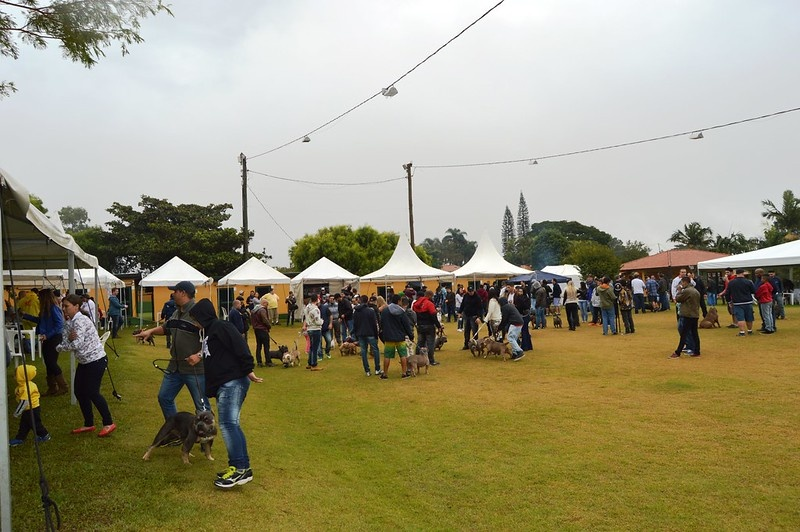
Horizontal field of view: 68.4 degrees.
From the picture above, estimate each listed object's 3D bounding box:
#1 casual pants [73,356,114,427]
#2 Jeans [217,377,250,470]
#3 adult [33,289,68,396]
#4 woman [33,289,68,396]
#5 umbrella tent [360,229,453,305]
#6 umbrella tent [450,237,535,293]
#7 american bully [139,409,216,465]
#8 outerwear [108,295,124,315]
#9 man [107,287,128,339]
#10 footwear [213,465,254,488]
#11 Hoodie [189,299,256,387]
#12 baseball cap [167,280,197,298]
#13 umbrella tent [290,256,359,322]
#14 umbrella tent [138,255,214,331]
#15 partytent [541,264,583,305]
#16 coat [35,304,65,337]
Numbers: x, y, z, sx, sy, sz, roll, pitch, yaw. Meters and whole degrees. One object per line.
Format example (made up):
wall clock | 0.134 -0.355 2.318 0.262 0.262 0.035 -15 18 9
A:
casual pants | -5.077 2.115 9.776 0.490 1.258 0.569 -7 12 -29
Jeans | -2.423 2.325 8.664 0.437 1.305 0.327 -5 11 -18
adult | -6.922 1.504 11.646 0.616 2.109 0.667 -1 0 19
woman | -6.918 1.493 11.607 0.616 2.094 0.656 1 3 23
umbrella tent | -0.001 0.158 30.737 3.681 2.510 3.719 0 -5 -2
umbrella tent | 4.738 -0.309 33.246 4.435 2.280 4.385 3 0 -13
american bully | -3.349 2.623 9.148 1.390 0.726 0.728 -5 -9 30
outerwear | -10.350 1.442 21.546 0.652 0.872 0.704 -1 -1 -16
man | -10.299 1.721 21.517 0.626 1.779 0.580 -4 -4 7
footwear | -2.431 3.101 8.637 0.585 0.271 0.232 9 -10 -25
Hoodie | -2.727 1.232 8.923 0.604 1.321 1.102 -9 13 -36
baseball cap | -3.538 0.350 9.687 0.305 0.294 0.727 -5 11 -22
umbrella tent | -4.011 1.179 30.304 3.080 2.794 3.057 0 -2 -17
umbrella tent | -10.626 0.742 27.268 3.307 2.158 3.206 10 6 -41
partytent | 7.840 0.900 28.469 1.913 1.534 1.830 0 -2 -4
coat | -6.857 1.074 11.586 0.816 0.745 0.462 -13 -16 40
